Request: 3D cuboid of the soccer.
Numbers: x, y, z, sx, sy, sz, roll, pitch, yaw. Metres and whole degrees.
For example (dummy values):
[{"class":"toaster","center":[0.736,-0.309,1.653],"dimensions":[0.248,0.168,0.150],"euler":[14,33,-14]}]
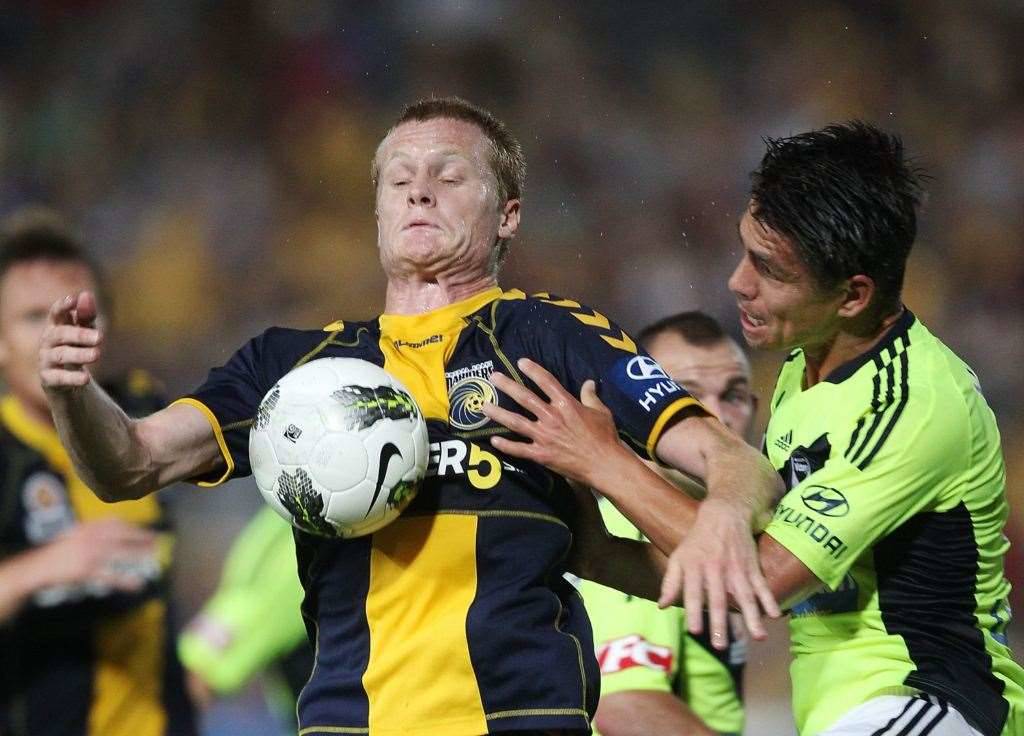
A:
[{"class":"soccer","center":[-0.575,0.307,5.076],"dimensions":[0.649,0.640,0.615],"euler":[6,-9,33]}]
